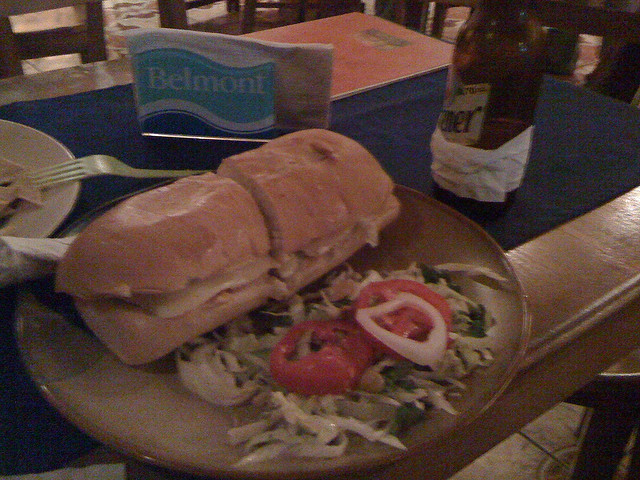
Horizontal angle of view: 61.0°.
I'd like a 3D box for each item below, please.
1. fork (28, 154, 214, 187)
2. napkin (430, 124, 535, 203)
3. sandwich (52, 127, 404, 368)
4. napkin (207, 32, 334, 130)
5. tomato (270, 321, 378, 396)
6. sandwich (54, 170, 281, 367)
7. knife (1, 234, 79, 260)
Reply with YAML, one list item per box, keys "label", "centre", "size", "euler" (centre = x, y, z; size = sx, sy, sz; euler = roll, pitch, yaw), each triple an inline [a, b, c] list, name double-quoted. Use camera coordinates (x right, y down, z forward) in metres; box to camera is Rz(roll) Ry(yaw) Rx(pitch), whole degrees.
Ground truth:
- label: "fork"
  centre: [-0.350, -0.135, 0.922]
  size: [0.367, 0.020, 0.036]
  euler: [11, 7, 17]
- label: "napkin"
  centre: [0.248, -0.140, 0.917]
  size: [0.149, 0.101, 0.172]
  euler: [-21, 38, -26]
- label: "sandwich"
  centre: [-0.077, -0.001, 0.717]
  size: [0.447, 0.126, 0.269]
  euler: [-23, 47, -30]
- label: "napkin"
  centre: [-0.058, -0.263, 0.945]
  size: [0.288, 0.161, 0.057]
  euler: [1, 25, -10]
- label: "tomato"
  centre: [0.002, 0.128, 0.594]
  size: [0.114, 0.030, 0.075]
  euler: [-14, 39, -24]
- label: "sandwich"
  centre: [-0.212, 0.024, 0.714]
  size: [0.285, 0.130, 0.323]
  euler: [20, 20, 22]
- label: "knife"
  centre: [-0.332, 0.007, 0.654]
  size: [0.083, 0.012, 0.039]
  euler: [12, 23, 19]
